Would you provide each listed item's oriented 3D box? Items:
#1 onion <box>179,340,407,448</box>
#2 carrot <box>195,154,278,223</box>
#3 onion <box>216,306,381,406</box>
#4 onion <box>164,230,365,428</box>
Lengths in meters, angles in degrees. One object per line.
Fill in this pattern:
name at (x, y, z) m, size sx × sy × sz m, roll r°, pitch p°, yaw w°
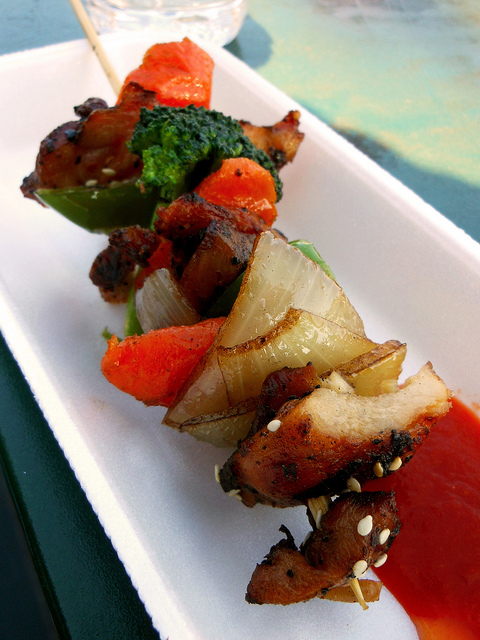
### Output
onion at (0.133, 0.205, 1.405) m, size 0.306 × 0.321 × 0.103 m, roll -14°, pitch 74°, yaw -31°
carrot at (-0.003, -0.313, 1.603) m, size 0.199 × 0.152 × 0.083 m, roll -9°, pitch 51°, yaw -21°
onion at (0.115, 0.080, 1.403) m, size 0.338 × 0.211 × 0.122 m, roll -8°, pitch 51°, yaw -21°
onion at (0.057, -0.012, 1.390) m, size 0.449 × 0.421 × 0.134 m, roll -41°, pitch 39°, yaw -26°
